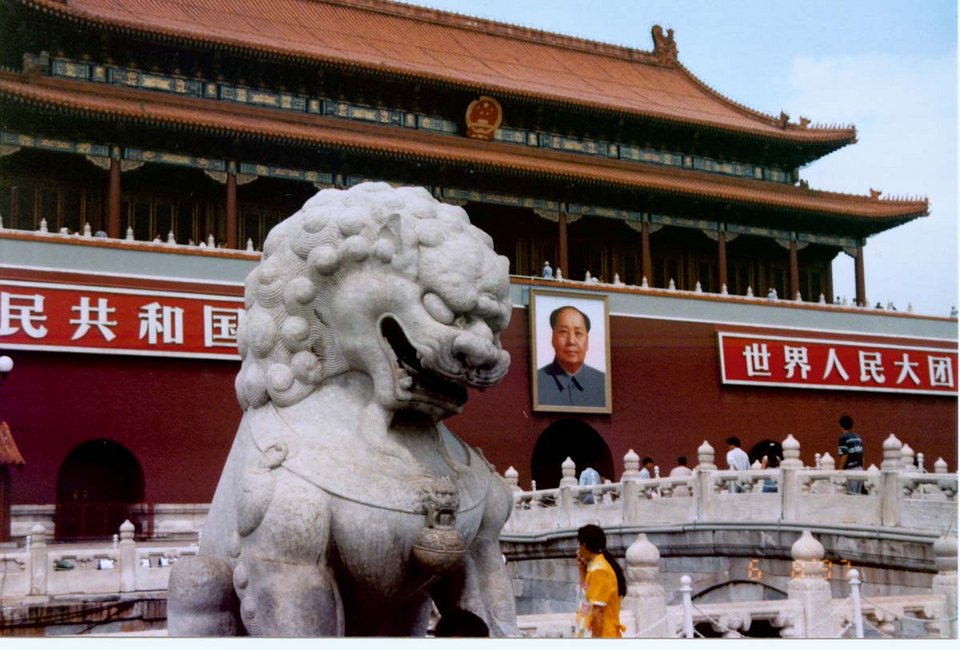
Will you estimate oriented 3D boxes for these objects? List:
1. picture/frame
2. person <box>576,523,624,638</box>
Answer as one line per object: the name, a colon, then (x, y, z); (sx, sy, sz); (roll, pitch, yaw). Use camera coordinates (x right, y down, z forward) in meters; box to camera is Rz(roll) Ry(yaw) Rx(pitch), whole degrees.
picture/frame: (1.571, 0.538, 32.085); (2.191, 2.968, 0.128); (2, -10, -26)
person: (1.389, 2.860, 20.393); (0.505, 1.239, 0.299); (1, -9, 5)
